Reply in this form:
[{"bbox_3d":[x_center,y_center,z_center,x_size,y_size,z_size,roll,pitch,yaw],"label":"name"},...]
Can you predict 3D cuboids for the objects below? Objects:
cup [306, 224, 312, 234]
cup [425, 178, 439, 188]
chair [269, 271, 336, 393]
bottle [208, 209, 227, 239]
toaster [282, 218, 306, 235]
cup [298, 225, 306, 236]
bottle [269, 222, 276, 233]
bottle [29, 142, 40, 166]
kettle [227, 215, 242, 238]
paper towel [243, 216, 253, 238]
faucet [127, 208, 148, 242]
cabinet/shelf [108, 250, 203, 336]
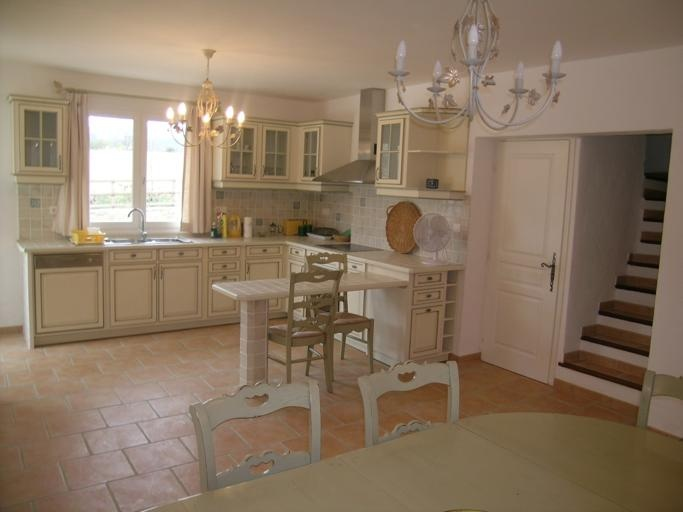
[{"bbox_3d":[-0.471,-0.393,7.162,0.117,0.133,0.118,0,-2,0],"label":"cup"},{"bbox_3d":[0.952,-0.757,5.255,0.118,0.109,0.120,2,-1,0],"label":"cup"},{"bbox_3d":[-0.383,0.605,4.756,0.630,1.169,1.137,1,12,-8],"label":"chair"},{"bbox_3d":[-1.621,-0.428,6.577,0.227,0.348,0.221,2,12,0],"label":"bottle"},{"bbox_3d":[-0.670,-0.440,7.119,0.385,0.275,0.205,-3,12,-20],"label":"toaster"},{"bbox_3d":[-0.564,-0.363,7.209,0.130,0.150,0.132,1,5,0],"label":"cup"},{"bbox_3d":[-0.966,-0.406,7.072,0.103,0.126,0.046,6,-1,-18],"label":"bottle"},{"bbox_3d":[-3.291,-1.091,5.329,0.107,0.260,0.027,-5,14,-31],"label":"bottle"},{"bbox_3d":[-1.440,-0.409,6.703,0.186,0.286,0.303,0,12,-12],"label":"kettle"},{"bbox_3d":[-1.249,-0.383,6.666,0.127,0.265,0.429,0,12,-11],"label":"paper towel"},{"bbox_3d":[-2.486,-0.383,6.060,0.219,0.385,0.379,-2,13,-21],"label":"faucet"},{"bbox_3d":[-2.186,0.409,5.732,0.945,0.823,0.420,-2,4,-34],"label":"cabinet/shelf"}]
